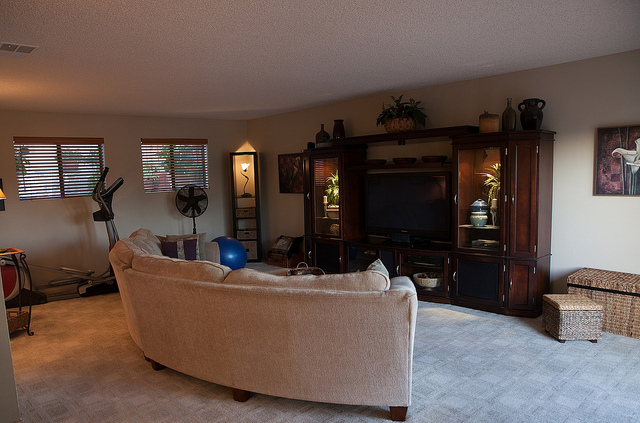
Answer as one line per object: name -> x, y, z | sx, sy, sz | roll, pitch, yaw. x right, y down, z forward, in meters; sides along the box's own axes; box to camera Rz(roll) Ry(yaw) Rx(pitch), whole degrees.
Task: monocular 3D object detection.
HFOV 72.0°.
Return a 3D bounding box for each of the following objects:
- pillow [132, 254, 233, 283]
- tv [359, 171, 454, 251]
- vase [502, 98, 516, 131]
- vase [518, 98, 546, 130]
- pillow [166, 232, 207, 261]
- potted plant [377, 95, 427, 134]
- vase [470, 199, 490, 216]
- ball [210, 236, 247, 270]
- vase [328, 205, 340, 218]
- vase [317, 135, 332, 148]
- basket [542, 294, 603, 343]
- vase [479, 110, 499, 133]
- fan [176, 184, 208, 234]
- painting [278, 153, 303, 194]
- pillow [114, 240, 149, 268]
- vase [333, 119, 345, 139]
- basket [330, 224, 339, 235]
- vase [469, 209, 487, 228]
pillow -> -1.274, 0.518, 4.033 | 0.718, 0.232, 0.133 | 7, 27, 16
tv -> 1.228, -0.031, 6.233 | 1.400, 0.980, 0.216 | 4, 5, 42
vase -> 2.249, -1.104, 5.248 | 0.148, 0.279, 0.155 | 3, 15, 21
vase -> 2.525, -1.153, 5.260 | 0.315, 0.361, 0.254 | 1, 11, 40
pillow -> -1.837, 0.497, 6.079 | 0.405, 0.361, 0.141 | -1, 2, -1
potted plant -> 1.123, -1.278, 6.159 | 0.624, 0.397, 0.593 | 1, 0, 0
vase -> 2.009, -0.056, 5.506 | 0.176, 0.134, 0.177 | 2, 2, 33
ball -> -1.409, 0.642, 7.228 | 0.574, 0.627, 0.554 | 3, 10, -1
vase -> 0.206, -0.001, 6.757 | 0.183, 0.121, 0.179 | 1, -2, 13
vase -> 0.066, -1.093, 6.871 | 0.219, 0.186, 0.369 | -2, 13, -1
basket -> 2.827, 1.190, 4.949 | 0.620, 0.347, 0.587 | -2, 5, -18
vase -> 2.094, -1.074, 5.425 | 0.245, 0.371, 0.255 | 4, 1, 28
fan -> -2.302, -0.052, 8.079 | 0.322, 0.874, 0.573 | 10, 18, 39
painting -> -0.518, -0.712, 8.030 | 0.040, 0.739, 0.762 | -7, 8, -39
pillow -> -1.972, 0.412, 4.704 | 0.444, 0.108, 0.415 | -2, -17, -13
vase -> 0.288, -1.273, 6.820 | 0.181, 0.279, 0.296 | -2, 13, -1
basket -> 0.227, 0.279, 6.744 | 0.132, 0.184, 0.179 | 7, -10, -43
vase -> 1.983, 0.090, 5.516 | 0.188, 0.145, 0.192 | 1, -7, 3
